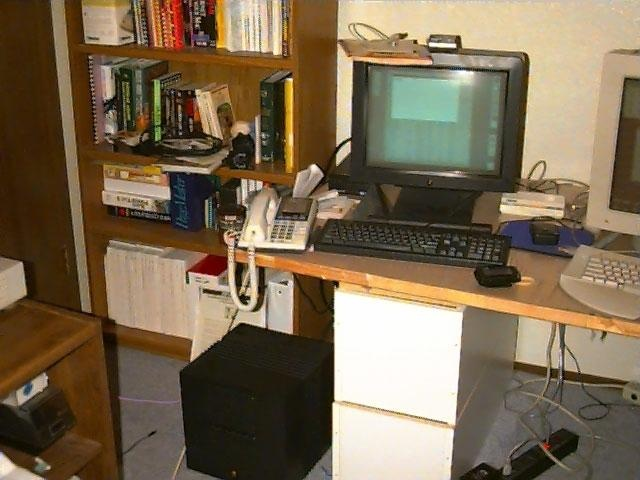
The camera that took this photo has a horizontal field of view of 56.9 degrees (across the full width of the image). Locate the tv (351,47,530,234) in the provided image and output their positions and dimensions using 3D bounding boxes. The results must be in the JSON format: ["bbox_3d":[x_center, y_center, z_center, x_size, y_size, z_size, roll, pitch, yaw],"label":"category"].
[{"bbox_3d":[0.459,-0.425,2.238,0.617,0.583,0.455,10,26,25],"label":"tv"}]

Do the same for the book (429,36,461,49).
[{"bbox_3d":[0.443,-0.703,2.109,0.111,0.041,0.111,4,22,8],"label":"book"}]

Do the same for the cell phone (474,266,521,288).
[{"bbox_3d":[0.556,0.107,1.831,0.099,0.033,0.073,1,23,14],"label":"cell phone"}]

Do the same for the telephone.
[{"bbox_3d":[-0.148,-0.075,2.113,0.266,0.107,0.319,0,31,1],"label":"telephone"}]

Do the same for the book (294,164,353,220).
[{"bbox_3d":[0.008,-0.178,2.326,0.250,0.083,0.184,14,37,21],"label":"book"}]

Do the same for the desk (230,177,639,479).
[{"bbox_3d":[0.479,0.361,2.257,1.156,0.989,0.815,8,23,18],"label":"desk"}]

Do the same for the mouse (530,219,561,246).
[{"bbox_3d":[0.774,-0.038,2.033,0.074,0.035,0.100,2,33,12],"label":"mouse"}]

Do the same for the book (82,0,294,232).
[{"bbox_3d":[-0.560,-0.571,2.591,0.886,1.008,0.297,6,15,8],"label":"book"}]
